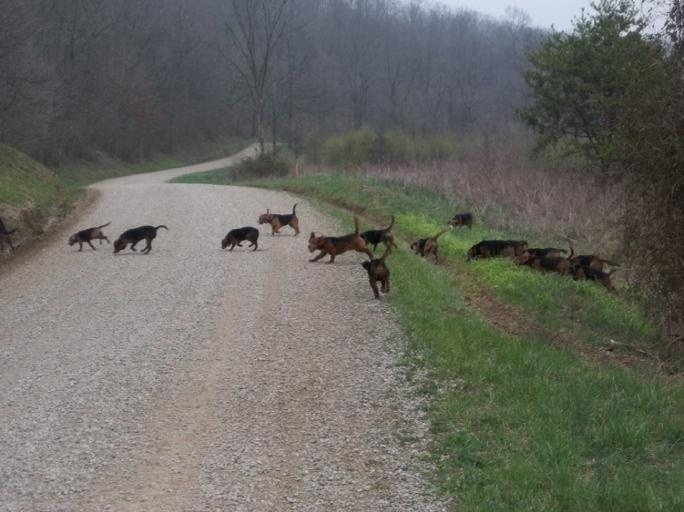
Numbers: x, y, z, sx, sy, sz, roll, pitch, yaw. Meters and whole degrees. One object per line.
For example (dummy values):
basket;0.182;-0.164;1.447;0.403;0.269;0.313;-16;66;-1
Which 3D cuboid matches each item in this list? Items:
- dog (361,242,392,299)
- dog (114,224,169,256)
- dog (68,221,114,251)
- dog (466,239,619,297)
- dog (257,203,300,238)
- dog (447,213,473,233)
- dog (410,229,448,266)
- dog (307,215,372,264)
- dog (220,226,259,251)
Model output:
dog;0.750;0.363;16.481;0.599;1.017;0.883;0;14;3
dog;-5.401;-0.469;19.498;1.074;0.741;1.232;-5;15;-13
dog;-6.879;-0.499;20.392;1.278;0.701;0.327;-16;8;7
dog;5.292;0.316;17.737;2.353;0.780;0.804;6;15;23
dog;-1.812;-0.880;21.507;1.112;0.743;0.716;0;14;5
dog;3.536;-0.981;22.276;0.936;0.485;0.381;-15;19;-41
dog;2.158;-0.177;19.259;0.349;0.828;1.366;7;-7;-22
dog;-0.127;-0.309;18.168;1.592;1.228;0.633;8;16;33
dog;-2.744;-0.475;19.851;0.974;0.685;1.101;-4;15;-9
